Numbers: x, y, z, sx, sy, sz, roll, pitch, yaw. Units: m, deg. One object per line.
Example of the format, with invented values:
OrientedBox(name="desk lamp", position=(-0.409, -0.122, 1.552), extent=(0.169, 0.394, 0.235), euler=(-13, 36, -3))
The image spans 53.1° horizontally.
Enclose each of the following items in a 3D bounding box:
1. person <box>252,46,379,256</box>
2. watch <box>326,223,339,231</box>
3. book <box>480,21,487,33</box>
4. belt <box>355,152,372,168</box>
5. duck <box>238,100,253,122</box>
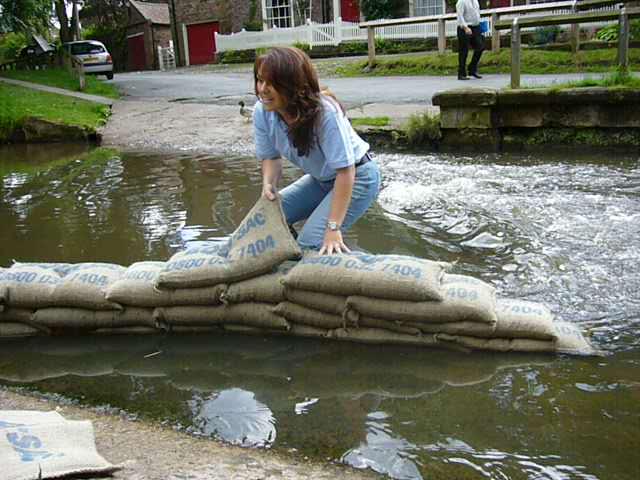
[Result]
OrientedBox(name="person", position=(-0.033, -0.654, 4.772), extent=(0.875, 1.487, 0.726), euler=(-6, 11, -9))
OrientedBox(name="watch", position=(0.087, -0.097, 4.683), extent=(0.074, 0.047, 0.073), euler=(5, 8, -42))
OrientedBox(name="book", position=(3.235, -4.253, 12.723), extent=(0.134, 0.255, 0.356), euler=(-1, 10, 15))
OrientedBox(name="belt", position=(0.319, -0.608, 4.868), extent=(0.134, 0.039, 0.098), euler=(-31, 7, 12))
OrientedBox(name="duck", position=(-1.324, -2.256, 11.261), extent=(0.201, 0.361, 0.940), euler=(-5, 10, -7))
